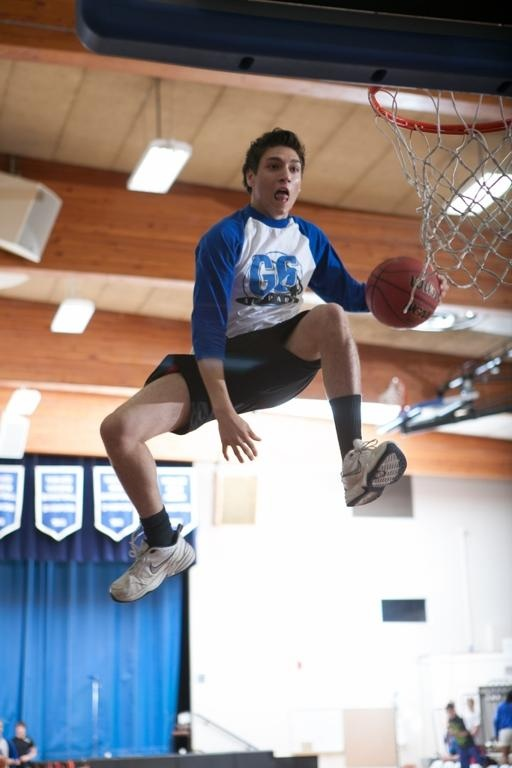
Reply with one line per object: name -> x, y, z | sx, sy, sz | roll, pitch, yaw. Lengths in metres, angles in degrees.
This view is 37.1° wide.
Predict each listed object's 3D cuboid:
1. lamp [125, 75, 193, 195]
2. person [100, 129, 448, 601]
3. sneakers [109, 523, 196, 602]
lamp -> -0.418, -1.054, 3.187 | 0.222, 0.393, 0.408 | 8, -37, -23
person -> 0.077, -0.124, 2.171 | 1.135, 1.256, 0.528 | -17, -29, 28
sneakers -> -0.274, 0.468, 2.006 | 0.221, 0.177, 0.124 | -3, -19, -7
